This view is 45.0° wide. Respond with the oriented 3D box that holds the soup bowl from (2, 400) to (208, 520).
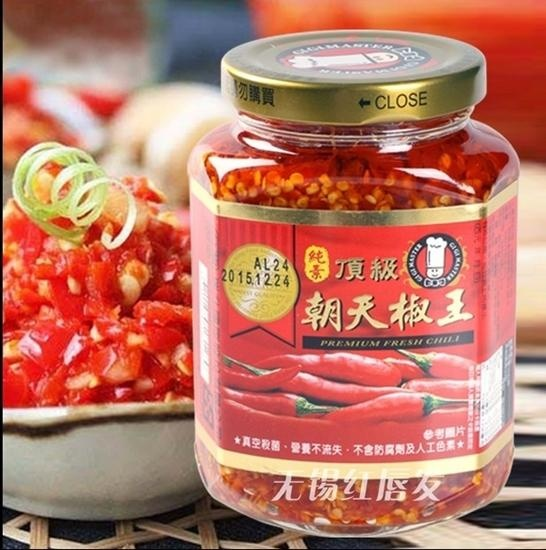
[{"bbox_3d":[-0.244,0.250,0.974,0.265,0.069,0.216,0,3,-13],"label":"soup bowl"}]
